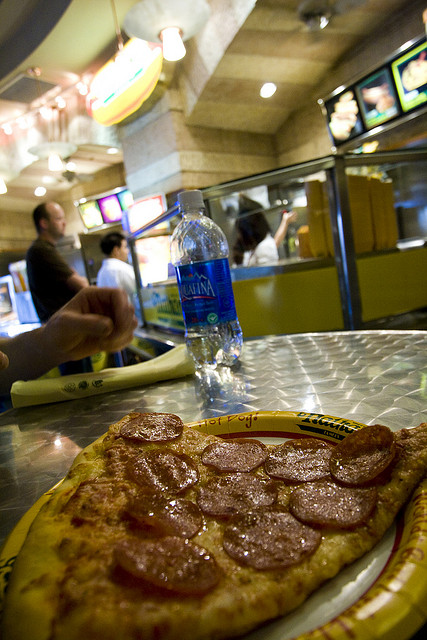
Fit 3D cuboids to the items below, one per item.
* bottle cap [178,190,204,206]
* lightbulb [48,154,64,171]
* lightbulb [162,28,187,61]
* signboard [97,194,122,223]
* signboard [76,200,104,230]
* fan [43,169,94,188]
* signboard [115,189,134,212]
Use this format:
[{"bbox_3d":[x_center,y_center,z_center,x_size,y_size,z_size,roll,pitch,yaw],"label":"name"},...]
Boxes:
[{"bbox_3d":[-0.032,-0.210,0.774,0.030,0.018,0.030,-8,14,-21],"label":"bottle cap"},{"bbox_3d":[-1.985,-1.969,5.570,0.146,0.205,0.377,-8,6,-13],"label":"lightbulb"},{"bbox_3d":[-0.287,-1.918,3.088,0.172,0.184,0.168,-4,36,21],"label":"lightbulb"},{"bbox_3d":[-1.698,-1.822,7.307,0.407,0.400,0.097,7,17,38],"label":"signboard"},{"bbox_3d":[-2.098,-1.806,7.630,0.447,0.425,0.108,9,27,34],"label":"signboard"},{"bbox_3d":[-2.503,-2.433,7.625,0.679,0.184,0.660,-17,9,-32],"label":"fan"},{"bbox_3d":[-1.390,-1.881,6.913,0.103,0.308,0.599,-10,7,-23],"label":"signboard"}]
